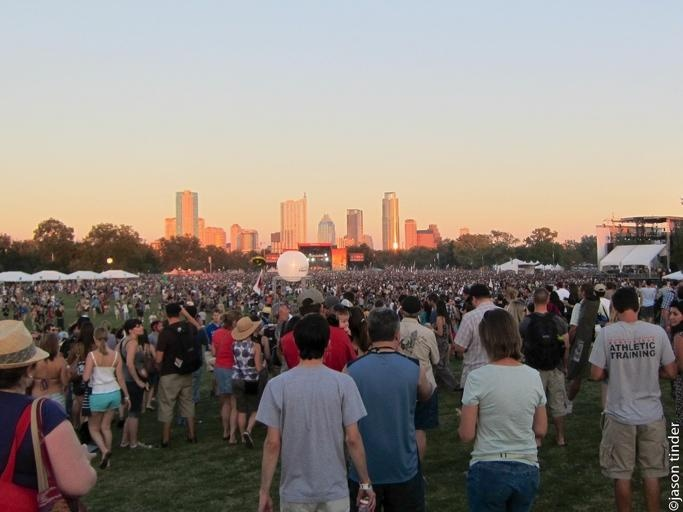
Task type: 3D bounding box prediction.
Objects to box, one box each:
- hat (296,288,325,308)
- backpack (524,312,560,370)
[{"bbox_3d":[-0.458,0.502,9.807,0.287,0.231,0.476,16,-2,23],"label":"hat"},{"bbox_3d":[2.606,1.098,9.463,0.547,0.747,0.275,-2,-2,1],"label":"backpack"}]
